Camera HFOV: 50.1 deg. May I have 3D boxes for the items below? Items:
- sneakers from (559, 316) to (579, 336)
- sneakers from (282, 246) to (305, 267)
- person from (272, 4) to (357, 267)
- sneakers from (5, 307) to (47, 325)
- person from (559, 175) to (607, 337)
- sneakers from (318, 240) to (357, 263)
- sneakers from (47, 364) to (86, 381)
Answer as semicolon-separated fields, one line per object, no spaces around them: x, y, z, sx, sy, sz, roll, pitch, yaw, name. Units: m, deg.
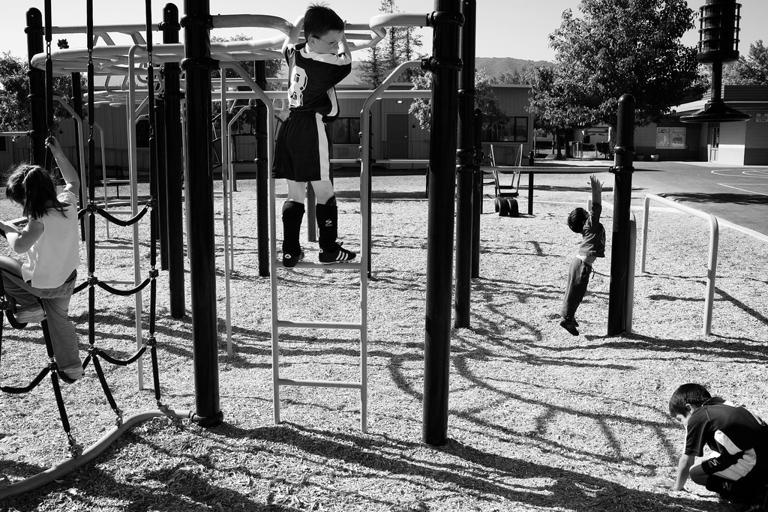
1.826;0.691;8.108;0.178;0.188;0.265;4;10;14;sneakers
-0.686;0.009;6.255;0.079;0.108;0.240;6;22;14;sneakers
-0.537;-0.881;6.202;0.584;1.945;0.576;-4;10;-30;person
-2.706;0.460;6.259;0.212;0.121;0.167;-3;7;-4;sneakers
1.976;-0.003;8.150;0.372;1.540;0.617;3;9;15;person
-0.376;-0.020;6.298;0.336;0.195;0.119;-5;18;-25;sneakers
-2.393;0.920;6.278;0.151;0.134;0.201;2;-14;-2;sneakers
